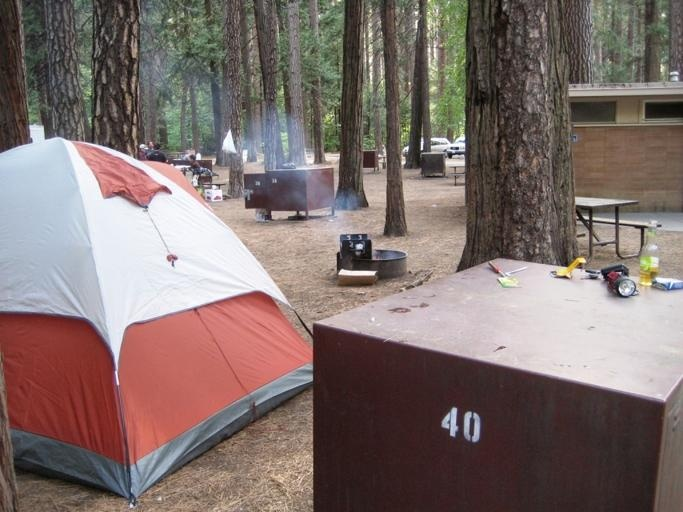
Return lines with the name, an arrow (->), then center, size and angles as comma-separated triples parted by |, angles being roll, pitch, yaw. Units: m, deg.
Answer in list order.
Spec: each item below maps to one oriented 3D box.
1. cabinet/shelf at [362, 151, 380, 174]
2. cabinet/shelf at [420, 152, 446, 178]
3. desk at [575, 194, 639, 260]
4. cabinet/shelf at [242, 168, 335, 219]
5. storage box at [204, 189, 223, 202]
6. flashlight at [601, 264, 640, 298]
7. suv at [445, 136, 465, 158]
cabinet/shelf -> 1.257, -4.072, 31.571 | 1.006, 1.316, 0.838 | 0, 7, 9
cabinet/shelf -> 3.419, -3.414, 27.538 | 0.748, 0.974, 0.886 | 1, 11, 4
desk -> 3.806, -0.430, 10.849 | 0.688, 0.850, 1.403 | 0, 12, 19
cabinet/shelf -> -1.084, -1.377, 15.720 | 1.147, 0.989, 1.303 | 1, 7, 22
storage box -> -3.574, -1.696, 20.631 | 0.354, 0.313, 0.363 | 11, 12, 42
flashlight -> 1.703, 0.154, 4.505 | 0.130, 0.114, 0.232 | 24, 15, -8
suv -> 6.663, -6.181, 41.927 | 0.777, 0.948, 1.886 | 0, 16, 23
